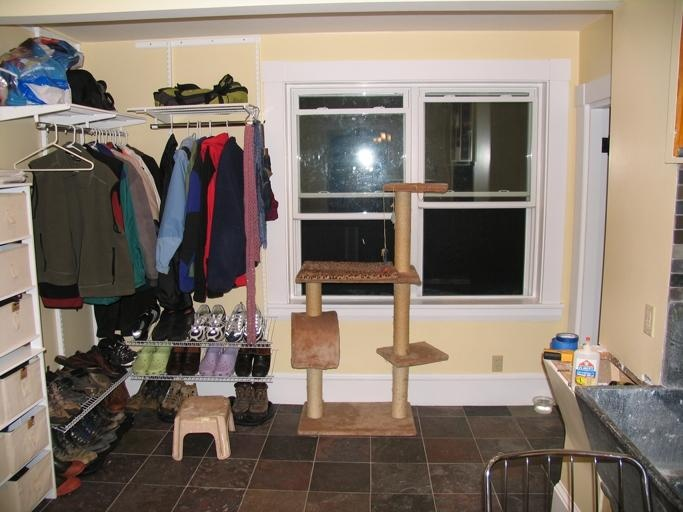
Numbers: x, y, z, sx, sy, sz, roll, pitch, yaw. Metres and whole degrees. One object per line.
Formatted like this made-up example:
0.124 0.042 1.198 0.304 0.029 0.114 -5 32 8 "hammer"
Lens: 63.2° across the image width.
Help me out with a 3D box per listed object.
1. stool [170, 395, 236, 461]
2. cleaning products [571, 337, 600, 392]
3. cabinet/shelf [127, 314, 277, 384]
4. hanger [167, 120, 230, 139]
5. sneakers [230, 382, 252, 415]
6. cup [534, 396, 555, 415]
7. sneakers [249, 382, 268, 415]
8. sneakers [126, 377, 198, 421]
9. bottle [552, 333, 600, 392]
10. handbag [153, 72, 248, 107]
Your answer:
-0.914 1.148 3.718 0.466 0.270 0.462 -6 12 -24 "stool"
1.237 0.541 2.807 0.125 0.277 0.106 4 20 24 "cleaning products"
-1.088 0.565 3.972 0.867 0.229 0.395 2 6 -1 "cabinet/shelf"
-1.010 -0.910 3.976 0.495 0.119 0.278 -3 10 -10 "hanger"
-0.717 1.025 4.066 0.134 0.166 0.400 2 14 -2 "sneakers"
1.491 1.098 4.069 0.149 0.073 0.158 -1 10 0 "cup"
-0.593 1.041 4.042 0.145 0.162 0.408 1 9 -4 "sneakers"
-1.301 1.031 4.100 0.257 0.167 0.426 3 1 3 "sneakers"
1.224 0.533 2.859 0.214 0.393 0.218 1 0 0 "bottle"
-0.930 -1.086 3.764 0.424 0.152 0.314 -1 12 2 "handbag"
